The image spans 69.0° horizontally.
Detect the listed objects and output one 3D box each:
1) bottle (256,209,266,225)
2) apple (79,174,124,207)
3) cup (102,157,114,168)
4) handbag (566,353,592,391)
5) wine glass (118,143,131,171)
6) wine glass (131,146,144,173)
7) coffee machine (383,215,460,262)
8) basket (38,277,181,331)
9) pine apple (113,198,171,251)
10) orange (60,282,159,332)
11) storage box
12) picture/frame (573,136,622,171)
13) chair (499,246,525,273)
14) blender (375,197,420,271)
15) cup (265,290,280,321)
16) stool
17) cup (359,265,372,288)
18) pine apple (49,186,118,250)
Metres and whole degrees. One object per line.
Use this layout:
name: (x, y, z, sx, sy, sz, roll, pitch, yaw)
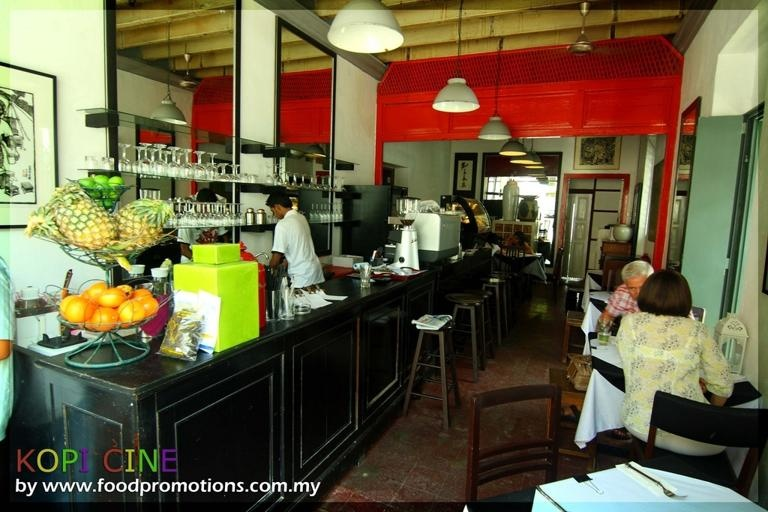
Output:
bottle: (-1.205, -0.378, 5.488, 0.141, 0.143, 0.133, 1, 0, -19)
apple: (-1.635, -0.383, 3.225, 0.207, 0.135, 0.218, 9, 8, 39)
cup: (-2.080, -0.696, 4.232, 0.074, 0.086, 0.037, -5, 10, -44)
handbag: (1.546, 0.944, 4.441, 0.172, 0.209, 0.265, -2, 7, 4)
wine glass: (-2.017, -0.764, 4.376, 0.127, 0.224, 0.070, -4, 9, -38)
wine glass: (-1.936, -0.766, 4.448, 0.082, 0.207, 0.055, -4, 9, -38)
coffee machine: (0.504, -0.191, 6.152, 0.514, 0.522, 0.874, 5, 6, 22)
basket: (-1.472, 0.280, 3.124, 0.410, 0.162, 0.439, 29, 20, 30)
pine apple: (-1.400, -0.223, 3.202, 0.216, 0.338, 0.208, -24, -3, -14)
orange: (-1.538, 0.294, 3.132, 0.489, 0.270, 0.208, -2, 8, -28)
storage box: (-1.107, 0.334, 3.450, 0.501, 0.472, 0.499, 3, 13, 26)
picture/frame: (4.223, -1.996, 10.880, 0.940, 0.720, 0.071, 3, 11, 30)
chair: (2.100, 0.064, 9.121, 0.388, 0.383, 0.443, 3, 7, 12)
blender: (0.166, -0.230, 5.673, 0.429, 0.680, 1.104, 2, 6, 4)
cup: (-0.741, 0.331, 3.770, 0.087, 0.199, 0.039, 0, 7, -16)
stool: (0.702, 0.967, 5.590, 0.428, 0.848, 1.460, 3, 3, 19)
cup: (-0.152, 0.156, 4.773, 0.095, 0.202, 0.189, 2, 7, -3)
pine apple: (-1.659, -0.174, 3.081, 0.336, 0.283, 0.126, 3, 7, 10)
